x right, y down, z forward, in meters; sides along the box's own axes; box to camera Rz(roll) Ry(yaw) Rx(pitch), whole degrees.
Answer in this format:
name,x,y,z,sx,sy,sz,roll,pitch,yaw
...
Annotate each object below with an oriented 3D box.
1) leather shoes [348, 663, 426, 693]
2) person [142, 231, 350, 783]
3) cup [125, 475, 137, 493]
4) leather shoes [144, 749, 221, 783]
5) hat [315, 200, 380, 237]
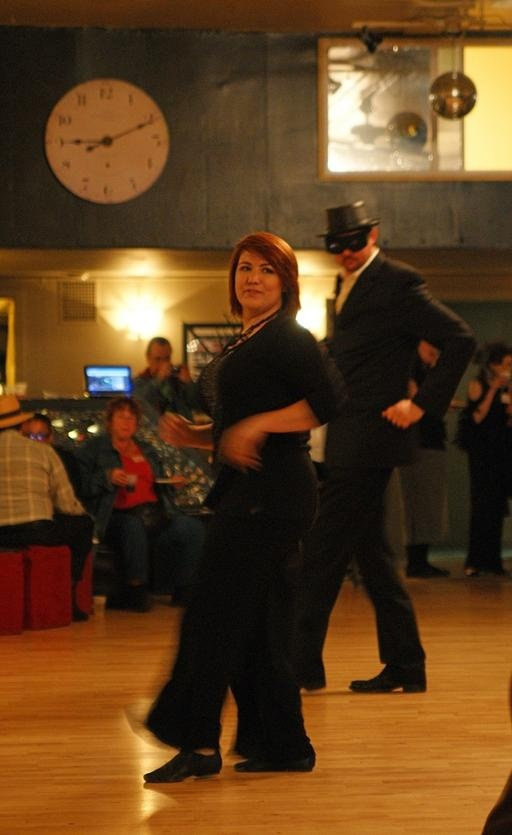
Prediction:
name,x,y,z,sx,sy,sz,roll,pitch,yaw
leather shoes,0.464,0.895,3.783,0.298,0.108,0.098,2,-3,6
person,-0.057,0.249,2.850,0.501,1.469,0.308,-2,4,-7
cup,-0.610,0.324,5.368,0.038,0.074,0.057,-8,-34,-3
leather shoes,-0.184,0.939,2.930,0.259,0.089,0.079,-1,-1,0
hat,0.307,-0.683,3.780,0.187,0.068,0.173,-21,9,-11
